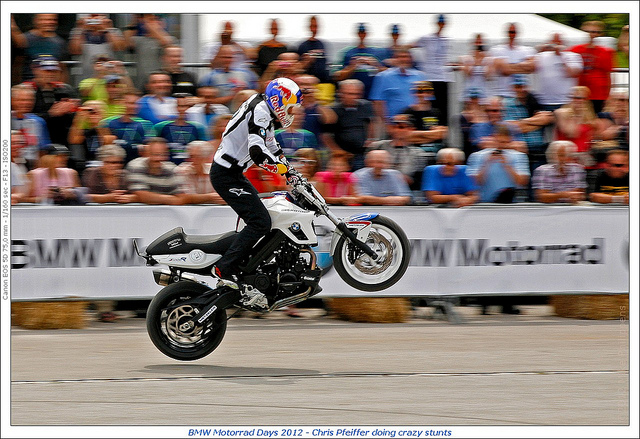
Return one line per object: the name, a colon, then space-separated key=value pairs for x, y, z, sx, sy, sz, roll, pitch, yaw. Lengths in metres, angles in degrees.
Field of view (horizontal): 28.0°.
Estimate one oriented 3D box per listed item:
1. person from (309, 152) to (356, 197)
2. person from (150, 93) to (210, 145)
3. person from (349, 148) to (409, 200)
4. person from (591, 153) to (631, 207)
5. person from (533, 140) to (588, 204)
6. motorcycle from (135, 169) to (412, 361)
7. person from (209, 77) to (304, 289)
person: x=0.137 y=-0.535 z=15.985 sx=0.812 sy=0.718 sz=0.293 roll=0 pitch=-6 yaw=-7
person: x=-1.777 y=-1.239 z=16.259 sx=0.866 sy=0.516 sz=0.338 roll=1 pitch=-11 yaw=-8
person: x=0.720 y=-0.557 z=16.111 sx=1.039 sy=0.545 sz=0.350 roll=1 pitch=-6 yaw=0
person: x=3.721 y=-0.536 z=16.470 sx=0.461 sy=0.622 sz=0.414 roll=3 pitch=9 yaw=14
person: x=3.058 y=-0.586 z=16.404 sx=0.688 sy=0.743 sz=0.240 roll=2 pitch=10 yaw=8
motorcycle: x=-0.669 y=0.431 z=14.843 sx=3.657 sy=1.587 sz=1.193 roll=-19 pitch=12 yaw=-32
person: x=-0.747 y=-0.408 z=14.566 sx=0.995 sy=2.372 sz=0.530 roll=-1 pitch=10 yaw=-8
